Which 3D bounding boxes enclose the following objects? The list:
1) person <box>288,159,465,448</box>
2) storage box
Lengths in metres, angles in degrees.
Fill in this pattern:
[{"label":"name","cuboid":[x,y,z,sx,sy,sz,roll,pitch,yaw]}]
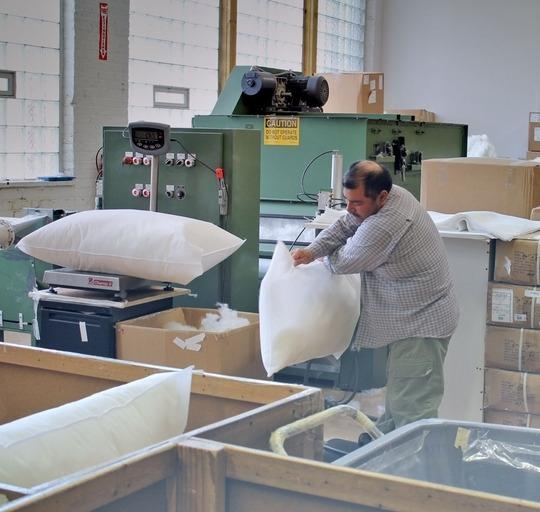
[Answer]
[{"label":"person","cuboid":[0.532,0.289,2.884,0.617,1.403,0.550,9,18,38]},{"label":"storage box","cuboid":[0.942,-0.007,3.439,0.795,1.251,1.218,2,7,19]}]
